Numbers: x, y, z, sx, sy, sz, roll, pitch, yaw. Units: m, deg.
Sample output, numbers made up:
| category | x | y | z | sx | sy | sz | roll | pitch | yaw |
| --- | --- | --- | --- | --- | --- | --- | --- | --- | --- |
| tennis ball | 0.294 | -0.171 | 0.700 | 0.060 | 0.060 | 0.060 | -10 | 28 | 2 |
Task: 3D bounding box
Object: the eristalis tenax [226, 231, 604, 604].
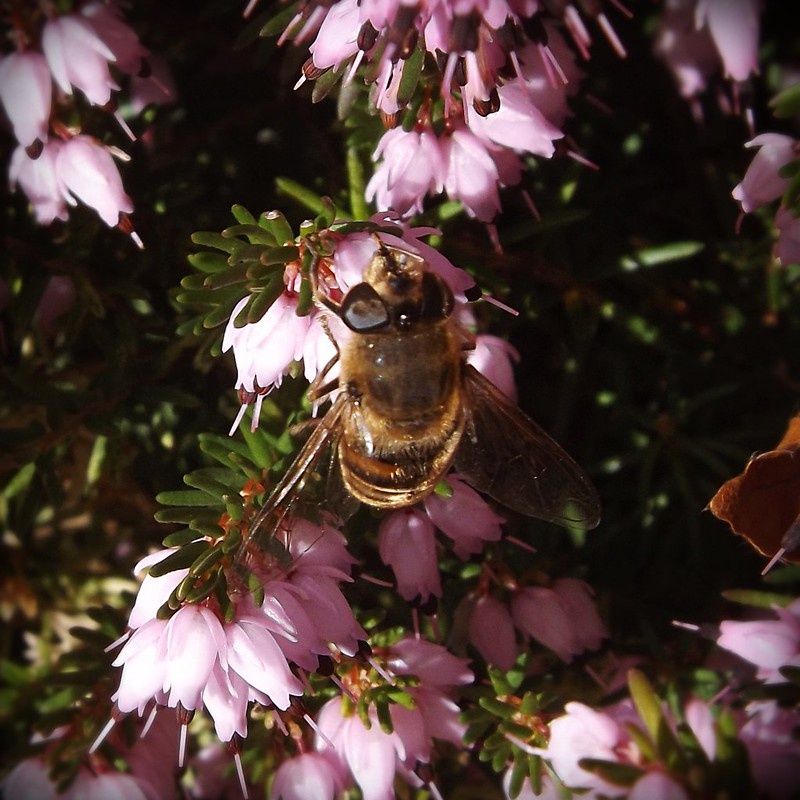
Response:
| category | x | y | z | sx | sy | sz | roll | pitch | yaw |
| --- | --- | --- | --- | --- | --- | --- | --- | --- | --- |
| eristalis tenax | -0.030 | 0.059 | 1.100 | 0.430 | 0.468 | 0.171 | -32 | 35 | -7 |
